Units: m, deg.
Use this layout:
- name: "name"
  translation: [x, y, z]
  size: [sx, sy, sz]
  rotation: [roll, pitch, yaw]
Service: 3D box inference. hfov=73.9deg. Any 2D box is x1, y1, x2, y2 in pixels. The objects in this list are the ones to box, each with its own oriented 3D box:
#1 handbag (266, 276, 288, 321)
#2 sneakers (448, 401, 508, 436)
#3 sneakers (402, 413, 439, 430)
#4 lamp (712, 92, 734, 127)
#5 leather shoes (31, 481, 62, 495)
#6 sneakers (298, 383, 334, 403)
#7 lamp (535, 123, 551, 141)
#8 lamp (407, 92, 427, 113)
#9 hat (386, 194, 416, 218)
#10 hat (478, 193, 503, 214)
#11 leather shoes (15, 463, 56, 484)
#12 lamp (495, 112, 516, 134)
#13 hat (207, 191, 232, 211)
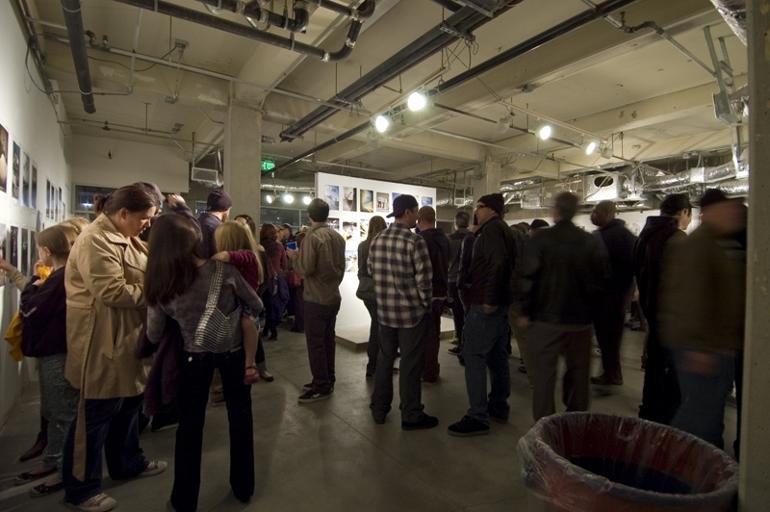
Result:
- name: "handbag"
  translation: [-1.605, 0.583, 7.421]
  size: [0.211, 0.536, 0.432]
  rotation: [7, 2, 24]
- name: "sneakers"
  translation: [0.883, 1.554, 4.953]
  size: [0.719, 0.263, 0.233]
  rotation: [1, -3, -13]
- name: "sneakers"
  translation: [0.330, 1.611, 5.026]
  size: [0.331, 0.131, 0.149]
  rotation: [-3, -1, -13]
- name: "lamp"
  translation: [4.655, -2.053, 7.004]
  size: [0.283, 0.391, 0.473]
  rotation: [3, 5, 34]
- name: "leather shoes"
  translation: [-2.782, 1.888, 4.199]
  size: [0.228, 0.058, 0.095]
  rotation: [9, -6, -35]
- name: "sneakers"
  translation: [-0.774, 1.478, 5.579]
  size: [0.398, 0.160, 0.144]
  rotation: [3, -2, -24]
- name: "lamp"
  translation: [2.819, -2.164, 8.952]
  size: [0.260, 0.245, 0.061]
  rotation: [11, 3, 41]
- name: "lamp"
  translation: [0.470, -2.387, 7.781]
  size: [0.301, 0.294, 0.236]
  rotation: [1, 4, 3]
- name: "hat"
  translation: [0.166, -0.514, 5.152]
  size: [0.280, 0.143, 0.187]
  rotation: [-13, 9, -18]
- name: "hat"
  translation: [1.018, -0.544, 5.018]
  size: [0.240, 0.190, 0.182]
  rotation: [33, 21, 27]
- name: "leather shoes"
  translation: [-2.984, 1.826, 4.343]
  size: [0.286, 0.072, 0.113]
  rotation: [5, -4, -41]
- name: "lamp"
  translation: [2.085, -2.366, 9.035]
  size: [0.275, 0.354, 0.575]
  rotation: [1, 4, 10]
- name: "hat"
  translation: [-1.749, -0.572, 5.337]
  size: [0.231, 0.177, 0.215]
  rotation: [2, 7, -25]
